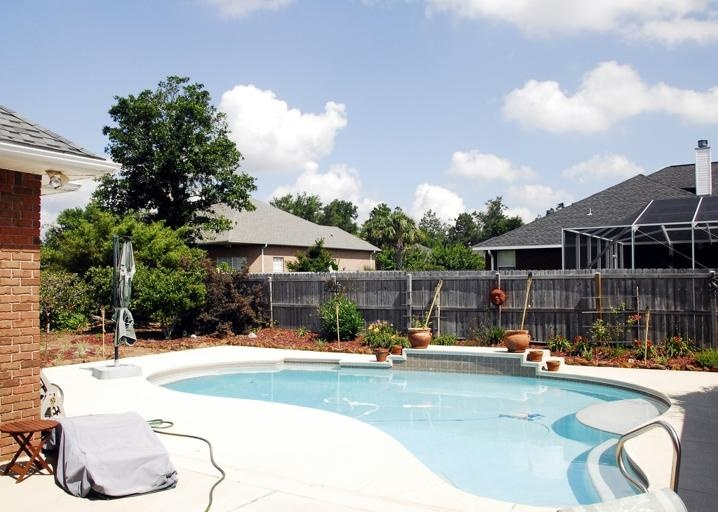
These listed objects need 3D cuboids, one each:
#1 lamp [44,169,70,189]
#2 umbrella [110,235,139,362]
[{"bbox_3d":[-5.678,-1.452,11.778,0.374,0.315,0.619,-1,8,-25],"label":"lamp"},{"bbox_3d":[-6.540,1.202,17.369,0.547,3.596,0.954,-1,7,-22],"label":"umbrella"}]
